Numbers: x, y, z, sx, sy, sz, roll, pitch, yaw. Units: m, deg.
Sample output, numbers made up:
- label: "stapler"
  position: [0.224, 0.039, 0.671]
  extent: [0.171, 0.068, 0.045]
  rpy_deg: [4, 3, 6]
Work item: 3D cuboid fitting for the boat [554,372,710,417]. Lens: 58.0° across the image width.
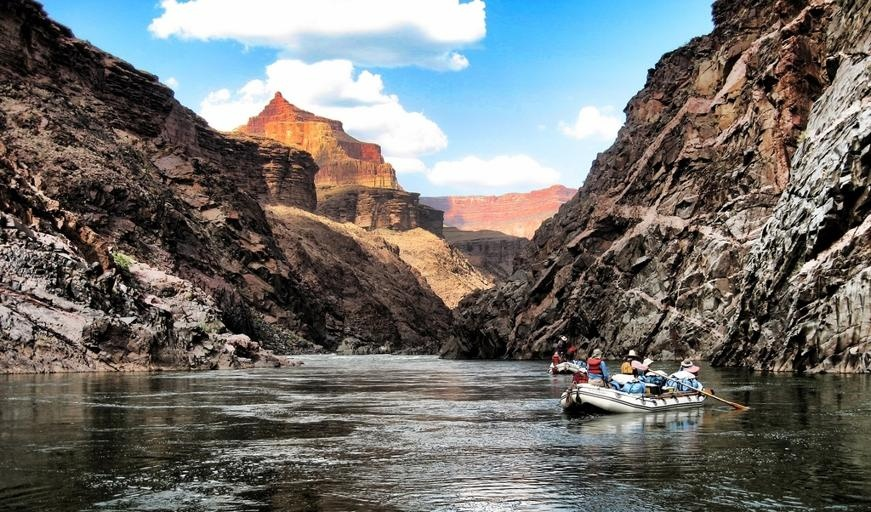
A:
- label: "boat"
  position: [12.595, 8.956, 49.717]
  extent: [6.256, 0.995, 3.494]
  rpy_deg: [2, -7, -21]
